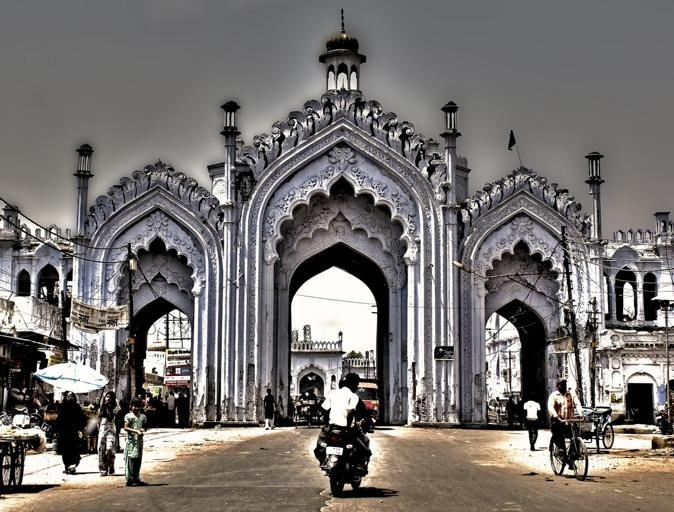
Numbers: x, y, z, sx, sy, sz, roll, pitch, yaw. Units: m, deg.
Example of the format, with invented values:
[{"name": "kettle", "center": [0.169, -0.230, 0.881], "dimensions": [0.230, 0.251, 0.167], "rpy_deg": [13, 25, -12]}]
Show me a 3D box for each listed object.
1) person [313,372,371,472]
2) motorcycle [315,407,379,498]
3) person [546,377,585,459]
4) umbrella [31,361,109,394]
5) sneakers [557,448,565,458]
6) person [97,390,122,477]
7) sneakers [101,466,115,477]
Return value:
[{"name": "person", "center": [0.133, 2.825, 19.876], "dimensions": [0.842, 1.090, 1.887], "rpy_deg": [2, -6, 7]}, {"name": "motorcycle", "center": [0.092, 3.521, 19.596], "dimensions": [0.739, 1.030, 1.751], "rpy_deg": [-1, -3, 12]}, {"name": "person", "center": [4.633, 3.318, 22.529], "dimensions": [0.612, 1.552, 0.653], "rpy_deg": [-6, 8, -13]}, {"name": "umbrella", "center": [-6.694, 3.065, 27.946], "dimensions": [1.683, 0.875, 0.995], "rpy_deg": [3, -17, -11]}, {"name": "sneakers", "center": [4.501, 3.977, 22.307], "dimensions": [0.126, 0.155, 0.047], "rpy_deg": [-8, -10, 40]}, {"name": "person", "center": [-4.881, 3.763, 23.633], "dimensions": [0.434, 1.910, 0.975], "rpy_deg": [3, -16, -11]}, {"name": "sneakers", "center": [-4.832, 4.507, 23.204], "dimensions": [0.283, 0.197, 0.375], "rpy_deg": [4, -17, -15]}]
